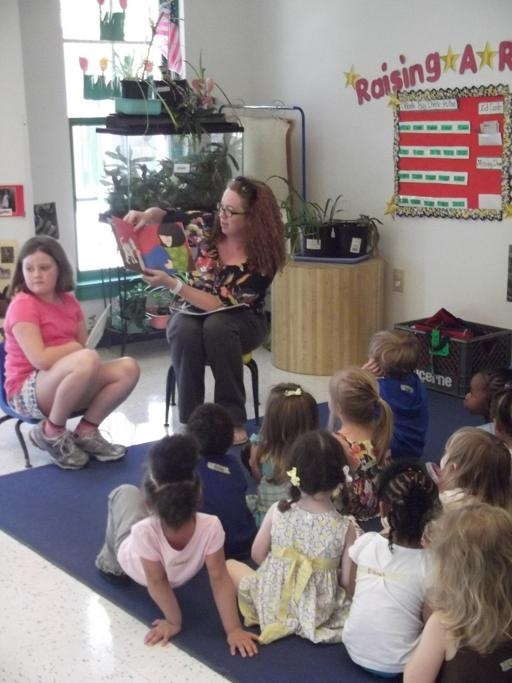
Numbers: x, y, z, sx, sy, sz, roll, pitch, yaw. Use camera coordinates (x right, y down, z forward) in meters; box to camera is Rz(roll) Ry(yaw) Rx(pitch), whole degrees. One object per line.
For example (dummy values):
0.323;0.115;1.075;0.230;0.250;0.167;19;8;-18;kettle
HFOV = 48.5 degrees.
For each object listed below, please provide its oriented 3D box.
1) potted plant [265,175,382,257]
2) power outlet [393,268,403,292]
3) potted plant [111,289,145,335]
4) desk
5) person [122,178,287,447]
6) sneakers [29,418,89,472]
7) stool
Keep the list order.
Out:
0.500;-0.798;3.736;0.714;0.483;0.690;-2;16;-8;potted plant
0.935;-0.404;3.745;0.021;0.162;0.087;-9;11;-30;power outlet
-0.875;-0.203;4.078;0.288;0.371;0.294;4;-3;-12;potted plant
0.436;-0.185;3.864;0.712;0.742;0.761;1;5;5;desk
-0.257;-0.200;2.755;0.739;1.117;0.690;3;11;-7;person
-0.838;0.434;2.489;0.349;0.154;0.161;1;23;40;sneakers
-0.157;0.207;2.944;0.384;0.347;0.290;8;1;-15;stool
